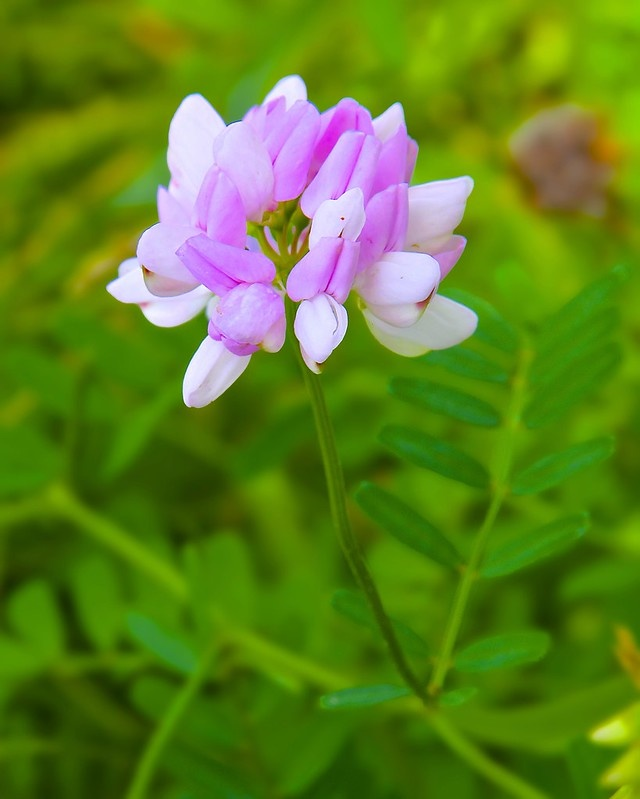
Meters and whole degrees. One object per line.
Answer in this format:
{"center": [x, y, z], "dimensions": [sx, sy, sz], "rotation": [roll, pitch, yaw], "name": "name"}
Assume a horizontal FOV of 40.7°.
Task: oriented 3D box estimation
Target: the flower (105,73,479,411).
{"center": [-0.019, -0.102, 0.546], "dimensions": [0.189, 0.169, 0.196], "rotation": [-22, 41, -32], "name": "flower"}
